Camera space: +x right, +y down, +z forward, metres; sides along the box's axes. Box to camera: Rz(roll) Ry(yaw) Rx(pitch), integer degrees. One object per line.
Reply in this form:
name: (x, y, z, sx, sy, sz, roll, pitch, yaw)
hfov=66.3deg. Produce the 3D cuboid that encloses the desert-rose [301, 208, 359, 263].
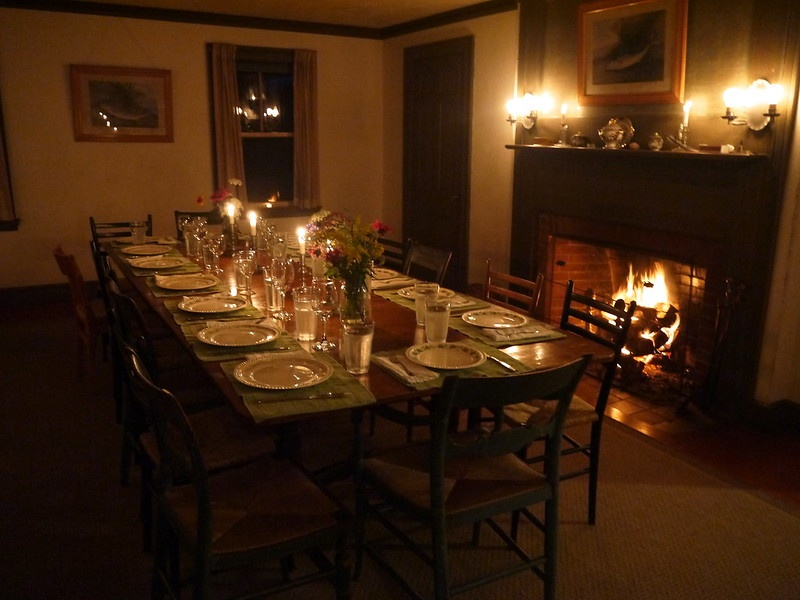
desert-rose: (-0.337, -0.305, 2.723, 0.348, 0.301, 0.349, -2, 13, -9)

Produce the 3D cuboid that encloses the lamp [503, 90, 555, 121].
lamp: (0.974, -1.468, 4.714, 0.221, 0.223, 0.375, -6, 18, -23)

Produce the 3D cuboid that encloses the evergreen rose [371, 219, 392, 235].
evergreen rose: (-0.087, -0.333, 2.854, 0.122, 0.054, 0.123, 6, 11, 1)

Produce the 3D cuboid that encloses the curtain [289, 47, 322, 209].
curtain: (-0.973, -1.737, 6.275, 0.271, 1.544, 0.198, -3, 17, -14)

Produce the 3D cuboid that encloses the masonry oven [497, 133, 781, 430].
masonry oven: (1.508, -0.115, 3.653, 0.507, 1.425, 1.663, -6, 18, -22)

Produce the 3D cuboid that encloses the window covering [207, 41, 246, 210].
window covering: (-1.666, -1.745, 5.883, 0.502, 2.000, 0.173, -3, 17, -25)
